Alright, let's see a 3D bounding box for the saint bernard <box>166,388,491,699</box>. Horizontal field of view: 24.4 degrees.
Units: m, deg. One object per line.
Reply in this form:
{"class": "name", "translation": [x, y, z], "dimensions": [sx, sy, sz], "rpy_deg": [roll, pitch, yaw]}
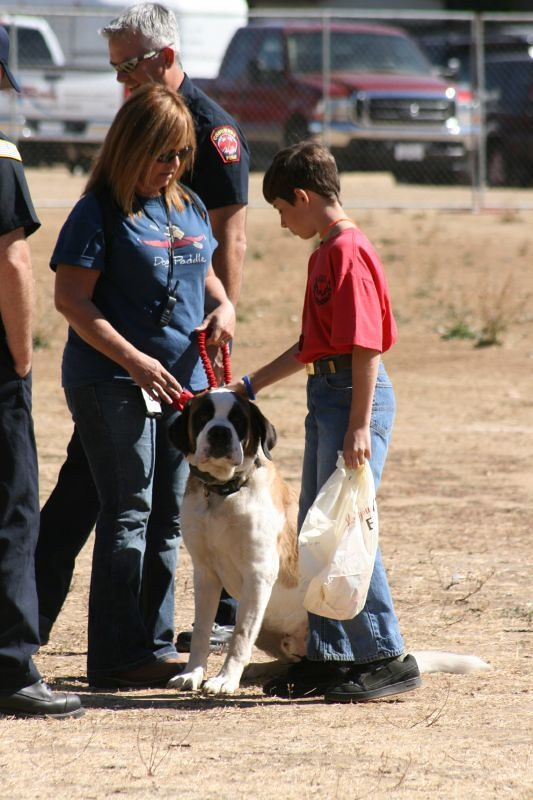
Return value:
{"class": "saint bernard", "translation": [-0.011, 0.568, 5.341], "dimensions": [0.622, 1.146, 1.792], "rpy_deg": [3, -1, 21]}

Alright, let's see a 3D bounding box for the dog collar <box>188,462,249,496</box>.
{"class": "dog collar", "translation": [-0.184, 0.313, 4.792], "dimensions": [0.126, 0.073, 0.155], "rpy_deg": [15, -19, 36]}

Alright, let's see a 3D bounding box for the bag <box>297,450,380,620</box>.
{"class": "bag", "translation": [0.272, 0.501, 4.611], "dimensions": [0.296, 0.616, 0.220], "rpy_deg": [0, 3, -3]}

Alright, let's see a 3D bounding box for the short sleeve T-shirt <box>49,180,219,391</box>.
{"class": "short sleeve T-shirt", "translation": [-0.493, -0.470, 4.868], "dimensions": [0.538, 0.841, 0.968], "rpy_deg": [8, 8, 40]}

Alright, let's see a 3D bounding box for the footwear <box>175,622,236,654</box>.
{"class": "footwear", "translation": [-0.250, 1.103, 5.742], "dimensions": [0.366, 0.151, 0.130], "rpy_deg": [8, -9, -30]}

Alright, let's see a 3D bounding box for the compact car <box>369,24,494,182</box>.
{"class": "compact car", "translation": [1.850, -3.812, 17.255], "dimensions": [1.928, 1.995, 3.696], "rpy_deg": [-1, -1, 0]}

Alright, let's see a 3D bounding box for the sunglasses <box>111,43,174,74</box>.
{"class": "sunglasses", "translation": [-0.520, -1.515, 5.229], "dimensions": [0.150, 0.039, 0.146], "rpy_deg": [-27, 12, -32]}

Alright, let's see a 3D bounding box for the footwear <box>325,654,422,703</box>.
{"class": "footwear", "translation": [0.423, 1.095, 4.854], "dimensions": [0.426, 0.178, 0.152], "rpy_deg": [-6, -1, -12]}

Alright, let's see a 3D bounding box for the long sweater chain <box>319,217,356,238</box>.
{"class": "long sweater chain", "translation": [0.268, -0.687, 4.754], "dimensions": [0.113, 0.056, 0.085], "rpy_deg": [-41, -28, 20]}

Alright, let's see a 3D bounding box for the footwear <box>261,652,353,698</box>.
{"class": "footwear", "translation": [0.165, 1.125, 5.045], "dimensions": [0.375, 0.145, 0.137], "rpy_deg": [1, 1, -1]}
